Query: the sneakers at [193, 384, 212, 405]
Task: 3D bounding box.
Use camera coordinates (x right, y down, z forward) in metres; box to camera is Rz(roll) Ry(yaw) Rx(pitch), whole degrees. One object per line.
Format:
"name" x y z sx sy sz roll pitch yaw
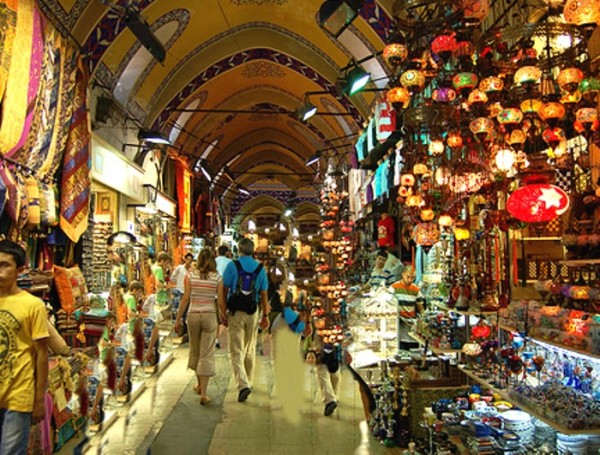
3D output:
"sneakers" -1.280 2.198 6.926 0.122 0.245 0.334 -2 2 5

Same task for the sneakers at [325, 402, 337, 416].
"sneakers" 0.377 2.221 6.518 0.133 0.185 0.066 18 2 6

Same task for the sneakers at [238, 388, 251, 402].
"sneakers" -0.715 2.151 6.811 0.155 0.183 0.133 -7 3 -30

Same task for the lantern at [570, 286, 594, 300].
"lantern" 2.386 0.561 4.469 0.106 0.127 0.218 -6 3 2
